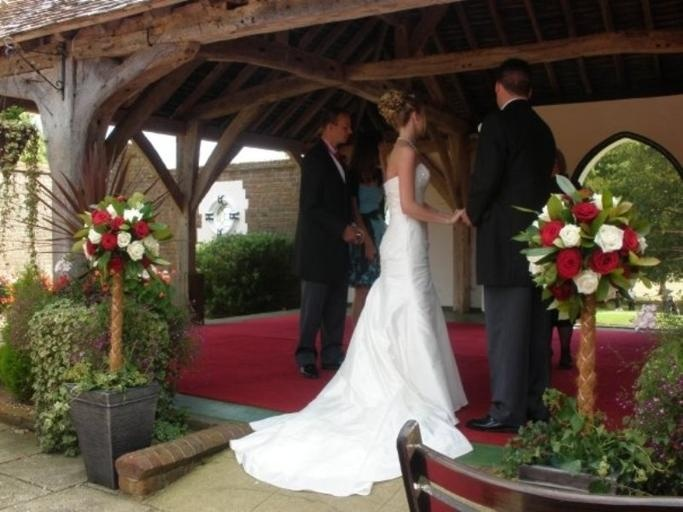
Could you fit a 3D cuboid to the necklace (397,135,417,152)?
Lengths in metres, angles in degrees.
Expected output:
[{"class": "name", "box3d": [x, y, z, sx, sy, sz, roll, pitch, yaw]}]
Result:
[{"class": "necklace", "box3d": [0.482, -0.793, 4.420, 0.123, 0.052, 0.125, 32, -7, -33]}]

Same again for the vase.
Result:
[{"class": "vase", "box3d": [-1.404, 1.156, 4.039, 0.504, 0.802, 0.546, -6, -8, 35]}]

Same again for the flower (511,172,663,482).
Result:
[{"class": "flower", "box3d": [1.099, 0.320, 2.814, 0.657, 1.374, 0.499, 1, 9, 30]}]

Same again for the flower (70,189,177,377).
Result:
[{"class": "flower", "box3d": [-1.465, 0.143, 4.114, 0.604, 1.121, 0.634, -8, 9, -26]}]
